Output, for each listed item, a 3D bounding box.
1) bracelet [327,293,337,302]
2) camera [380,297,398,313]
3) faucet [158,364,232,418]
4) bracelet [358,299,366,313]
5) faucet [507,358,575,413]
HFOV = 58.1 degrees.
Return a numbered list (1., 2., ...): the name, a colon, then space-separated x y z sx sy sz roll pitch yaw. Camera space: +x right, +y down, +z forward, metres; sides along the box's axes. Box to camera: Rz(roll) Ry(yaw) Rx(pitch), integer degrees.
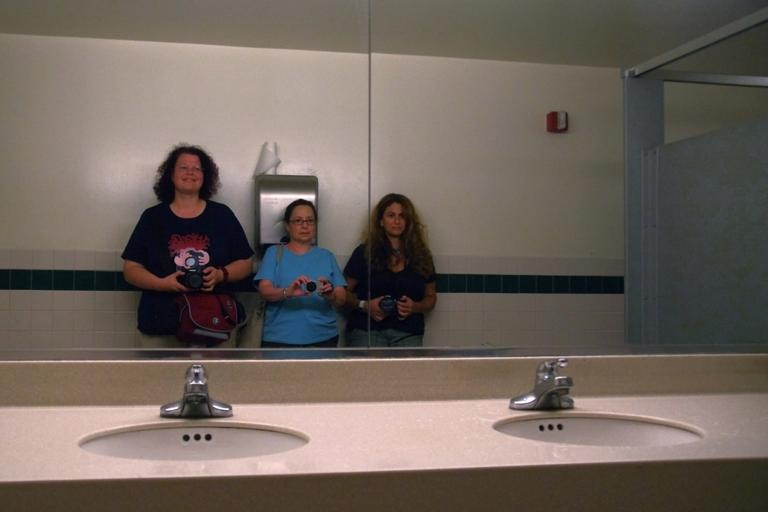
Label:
1. bracelet: -0.153 0.122 2.050 0.024 0.022 0.023 0 -7 15
2. camera: 0.016 0.146 2.075 0.045 0.044 0.044 2 -4 -3
3. faucet: -0.453 0.332 1.681 0.117 0.081 0.165 1 -17 -10
4. bracelet: -0.064 0.145 2.057 0.022 0.032 0.034 2 -9 7
5. faucet: 0.391 0.328 1.797 0.100 0.119 0.186 3 -7 -12
